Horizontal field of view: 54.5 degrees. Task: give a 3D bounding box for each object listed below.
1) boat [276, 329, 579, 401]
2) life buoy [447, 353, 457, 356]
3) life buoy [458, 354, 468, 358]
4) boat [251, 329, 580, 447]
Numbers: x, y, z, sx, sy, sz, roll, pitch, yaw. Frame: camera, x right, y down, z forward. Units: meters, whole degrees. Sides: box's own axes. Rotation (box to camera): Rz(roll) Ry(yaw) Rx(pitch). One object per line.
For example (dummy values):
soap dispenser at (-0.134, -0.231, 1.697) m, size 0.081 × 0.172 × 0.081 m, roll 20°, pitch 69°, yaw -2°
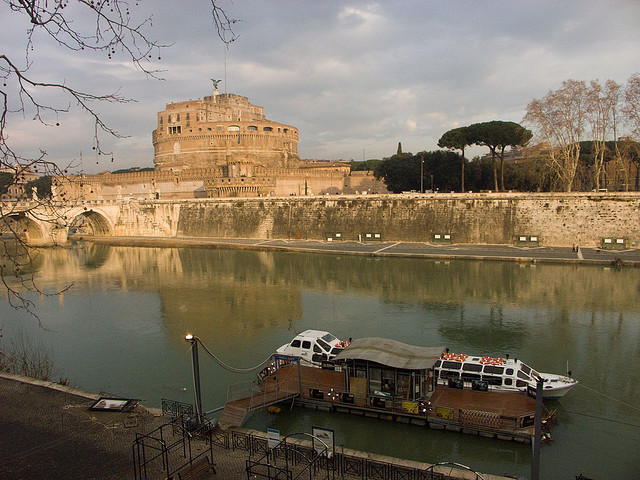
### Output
boat at (5.076, 5.981, 29.147) m, size 13.527 × 2.709 × 2.217 m, roll 1°, pitch 5°, yaw 20°
life buoy at (6.240, 5.425, 29.409) m, size 0.331 × 0.109 × 0.429 m, roll 1°, pitch 0°, yaw 13°
life buoy at (6.740, 5.474, 29.277) m, size 0.353 × 0.151 × 0.426 m, roll 0°, pitch -1°, yaw 0°
boat at (4.274, 6.499, 27.872) m, size 11.879 × 3.660 × 3.074 m, roll 0°, pitch 4°, yaw 14°
